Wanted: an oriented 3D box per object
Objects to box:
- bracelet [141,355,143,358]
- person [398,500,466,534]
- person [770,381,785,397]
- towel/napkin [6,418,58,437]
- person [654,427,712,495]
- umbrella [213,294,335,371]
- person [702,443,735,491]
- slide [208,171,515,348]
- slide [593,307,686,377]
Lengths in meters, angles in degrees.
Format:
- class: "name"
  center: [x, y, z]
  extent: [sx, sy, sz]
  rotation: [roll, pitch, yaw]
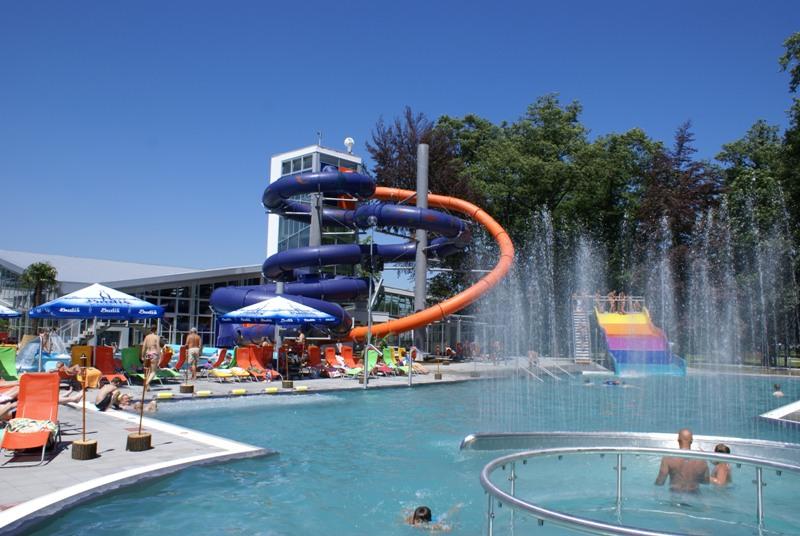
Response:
- class: "bracelet"
  center: [-8.446, 2.902, 21.145]
  extent: [0.015, 0.058, 0.060]
  rotation: [-16, 7, 5]
- class: "person"
  center: [0.547, 4.342, 11.227]
  extent: [0.963, 0.352, 0.837]
  rotation: [-1, -9, 2]
- class: "person"
  center: [13.747, 4.470, 23.539]
  extent: [0.425, 0.461, 4.128]
  rotation: [-6, -10, 29]
- class: "towel/napkin"
  center: [-7.016, 3.049, 12.316]
  extent: [0.808, 0.323, 0.483]
  rotation: [5, -10, -29]
- class: "person"
  center: [4.886, 3.406, 11.188]
  extent: [1.084, 1.228, 0.790]
  rotation: [2, 6, 28]
- class: "umbrella"
  center: [-4.473, 2.073, 23.175]
  extent: [3.776, 2.246, 1.717]
  rotation: [2, -10, -18]
- class: "person"
  center: [5.285, 3.349, 10.721]
  extent: [0.498, 0.835, 0.772]
  rotation: [-3, -17, 25]
- class: "slide"
  center: [-0.658, -1.493, 32.392]
  extent: [11.782, 5.309, 9.422]
  rotation: [0, 7, -8]
- class: "slide"
  center: [11.801, 3.587, 31.994]
  extent: [3.189, 3.437, 4.675]
  rotation: [-1, -9, 6]
